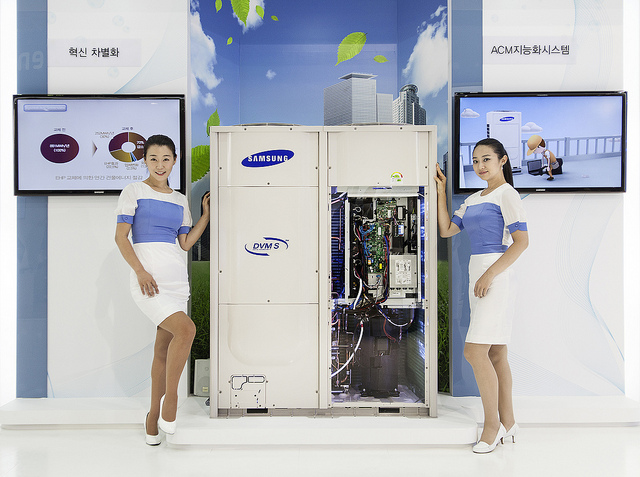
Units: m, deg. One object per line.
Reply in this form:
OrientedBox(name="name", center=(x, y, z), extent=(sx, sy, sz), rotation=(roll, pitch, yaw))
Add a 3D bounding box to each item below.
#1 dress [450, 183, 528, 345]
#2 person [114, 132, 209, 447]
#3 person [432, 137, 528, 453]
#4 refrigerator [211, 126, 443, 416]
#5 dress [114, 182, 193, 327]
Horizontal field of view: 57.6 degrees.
OrientedBox(name="dress", center=(1.376, 0.196, 4.628), extent=(0.482, 1.259, 0.271), rotation=(2, 1, 20))
OrientedBox(name="person", center=(-1.295, 0.411, 4.766), extent=(0.664, 2.492, 0.463), rotation=(1, 1, 10))
OrientedBox(name="person", center=(1.302, 0.440, 4.671), extent=(0.658, 2.464, 0.335), rotation=(2, 1, 19))
OrientedBox(name="refrigerator", center=(0.009, 0.205, 4.788), extent=(2.152, 2.936, 1.002), rotation=(-1, -2, -2))
OrientedBox(name="dress", center=(-1.337, 0.118, 4.660), extent=(0.547, 1.104, 0.310), rotation=(1, 1, -21))
